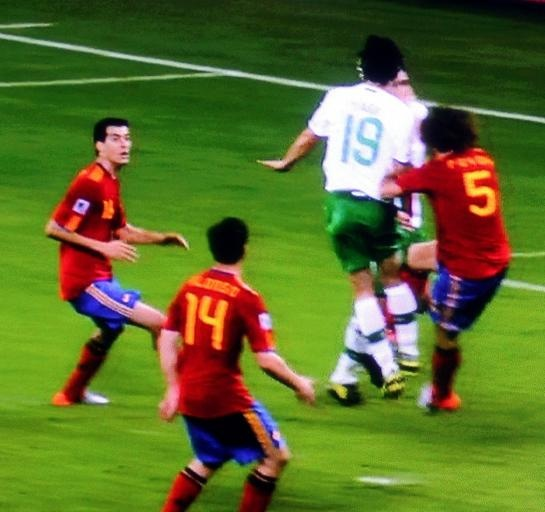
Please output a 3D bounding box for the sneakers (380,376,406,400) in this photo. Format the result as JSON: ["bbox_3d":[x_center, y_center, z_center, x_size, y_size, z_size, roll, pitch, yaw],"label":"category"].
[{"bbox_3d":[0.776,0.861,7.464,0.077,0.148,0.155,35,-10,9],"label":"sneakers"}]

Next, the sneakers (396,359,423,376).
[{"bbox_3d":[0.900,0.751,7.663,0.123,0.040,0.131,2,12,7],"label":"sneakers"}]

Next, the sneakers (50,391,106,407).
[{"bbox_3d":[-1.232,0.929,7.372,0.398,0.118,0.116,-4,2,-7],"label":"sneakers"}]
